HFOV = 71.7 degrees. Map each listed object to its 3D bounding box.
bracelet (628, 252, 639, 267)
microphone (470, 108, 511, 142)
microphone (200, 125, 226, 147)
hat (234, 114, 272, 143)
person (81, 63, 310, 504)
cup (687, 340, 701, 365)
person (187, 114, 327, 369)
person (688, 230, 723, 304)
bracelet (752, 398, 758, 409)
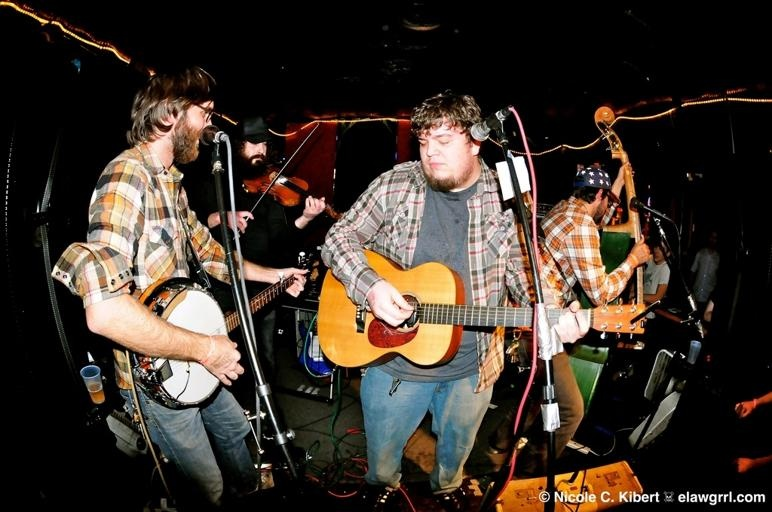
[{"bbox_3d":[2.393,0.033,5.119,0.082,0.136,0.033,-6,2,4],"label":"bracelet"},{"bbox_3d":[0.752,-0.910,3.735,0.255,0.207,0.267,5,8,19],"label":"microphone"},{"bbox_3d":[-1.232,-0.851,3.805,0.157,0.140,0.311,-1,9,-27],"label":"microphone"},{"bbox_3d":[-1.548,-1.482,6.291,0.265,0.187,0.361,-13,26,-38],"label":"hat"},{"bbox_3d":[-1.691,0.289,4.173,1.372,3.481,0.914,1,8,-15],"label":"person"},{"bbox_3d":[2.771,0.857,4.763,0.100,0.248,0.201,7,9,32],"label":"cup"},{"bbox_3d":[-1.413,-0.427,6.362,1.480,3.264,0.452,-3,2,-40],"label":"person"},{"bbox_3d":[4.037,0.177,6.683,0.201,0.972,0.429,2,8,-6],"label":"person"},{"bbox_3d":[3.585,1.423,5.164,0.013,0.056,0.056,10,-6,3],"label":"bracelet"}]
